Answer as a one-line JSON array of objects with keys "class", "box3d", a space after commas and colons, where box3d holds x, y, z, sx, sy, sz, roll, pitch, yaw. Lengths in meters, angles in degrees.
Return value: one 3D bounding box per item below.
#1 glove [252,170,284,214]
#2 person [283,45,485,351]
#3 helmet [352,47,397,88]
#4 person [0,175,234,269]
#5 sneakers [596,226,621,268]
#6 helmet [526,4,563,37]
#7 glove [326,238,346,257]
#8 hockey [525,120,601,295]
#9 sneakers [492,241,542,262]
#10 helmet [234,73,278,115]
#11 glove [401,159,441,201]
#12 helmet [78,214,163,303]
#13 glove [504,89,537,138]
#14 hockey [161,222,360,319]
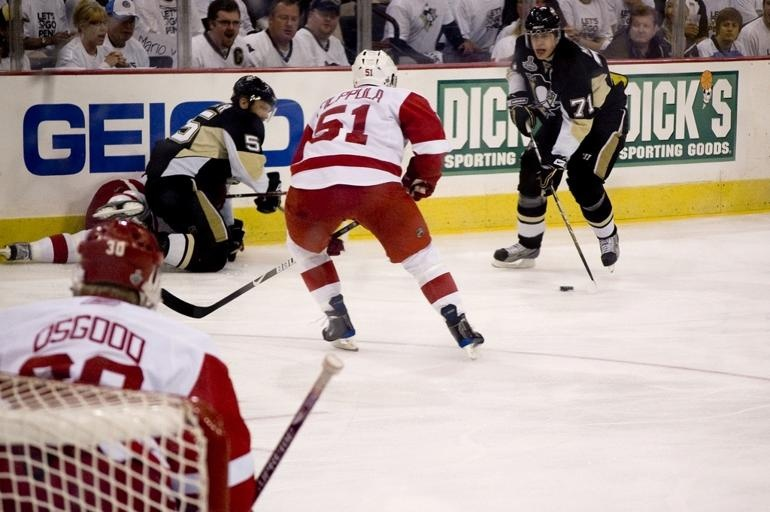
[{"class": "glove", "box3d": [-0.800, -0.436, 6.137, 0.136, 0.141, 0.340, 8, -33, -1]}, {"class": "person", "box3d": [-0.022, -0.169, 4.311, 0.888, 1.260, 0.470, 1, 15, 3]}, {"class": "helmet", "box3d": [-0.035, -0.942, 4.462, 0.177, 0.202, 0.210, 2, 27, 8]}, {"class": "person", "box3d": [-1.782, -0.223, 5.977, 0.789, 0.446, 1.238, 12, 12, 37]}, {"class": "sneakers", "box3d": [1.531, -0.049, 6.013, 0.101, 0.137, 0.322, -21, 27, 34]}, {"class": "helmet", "box3d": [1.032, -1.512, 5.786, 0.246, 0.169, 0.159, 1, 15, 3]}, {"class": "glove", "box3d": [-0.252, -0.055, 4.508, 0.087, 0.081, 0.028, -31, 19, -24]}, {"class": "hockey", "box3d": [1.208, -0.334, 6.085, 0.049, 1.417, 0.068, -16, -11, -36]}, {"class": "sneakers", "box3d": [0.894, -0.023, 6.085, 0.356, 0.136, 0.121, 0, 6, -12]}, {"class": "helmet", "box3d": [-0.848, -1.083, 5.868, 0.269, 0.215, 0.196, 3, 5, -21]}, {"class": "glove", "box3d": [0.182, -0.384, 4.314, 0.080, 0.183, 0.194, 16, -9, 36]}, {"class": "helmet", "box3d": [-0.667, 0.011, 2.324, 0.185, 0.206, 0.226, 5, 7, -8]}, {"class": "glove", "box3d": [0.948, -0.979, 6.170, 0.138, 0.292, 0.219, -13, 4, -30]}, {"class": "hockey", "box3d": [-0.748, 0.096, 5.222, 1.225, 0.228, 0.067, -22, -23, -13]}]
